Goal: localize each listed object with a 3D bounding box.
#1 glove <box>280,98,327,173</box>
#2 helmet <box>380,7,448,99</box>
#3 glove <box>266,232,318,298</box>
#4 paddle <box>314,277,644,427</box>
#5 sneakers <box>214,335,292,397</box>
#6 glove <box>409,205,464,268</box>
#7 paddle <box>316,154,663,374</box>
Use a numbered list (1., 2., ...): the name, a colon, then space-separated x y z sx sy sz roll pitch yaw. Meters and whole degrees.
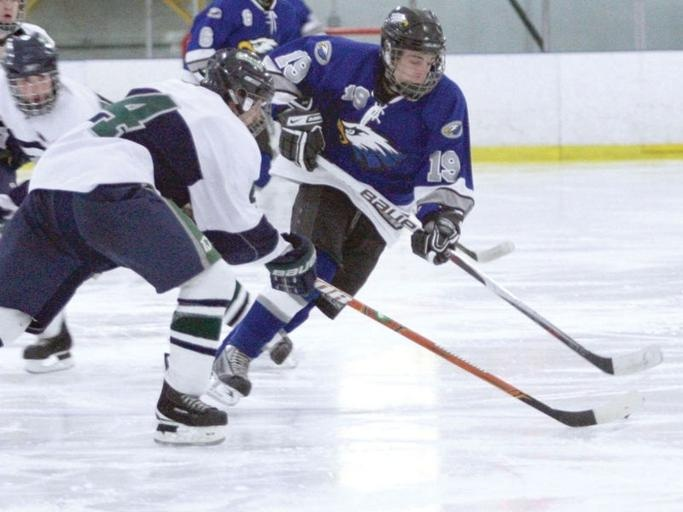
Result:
1. glove: -0.134 -0.413 3.548 0.240 0.211 0.107 6 13 13
2. helmet: 0.237 -0.682 3.441 0.236 0.291 0.212 10 23 5
3. glove: -0.158 0.032 3.198 0.158 0.180 0.129 55 2 -29
4. paddle: 0.404 0.306 3.210 1.141 0.176 0.142 28 6 -15
5. sneakers: -0.331 0.393 3.437 0.110 0.140 0.341 43 -12 -14
6. glove: 0.322 -0.067 3.477 0.161 0.211 0.098 44 6 2
7. paddle: 0.264 0.085 3.686 1.592 0.040 0.514 28 33 6
